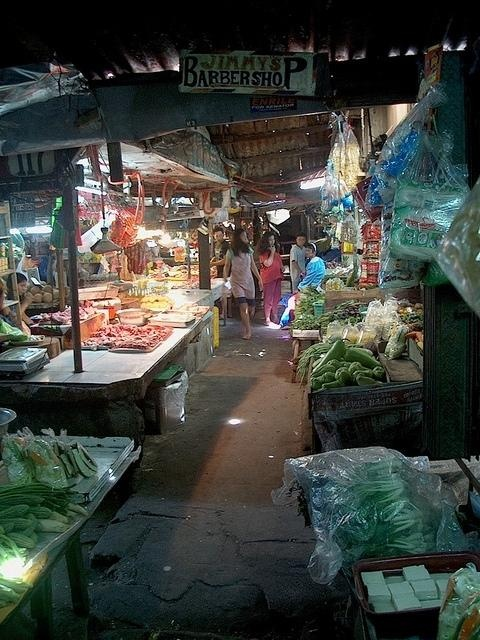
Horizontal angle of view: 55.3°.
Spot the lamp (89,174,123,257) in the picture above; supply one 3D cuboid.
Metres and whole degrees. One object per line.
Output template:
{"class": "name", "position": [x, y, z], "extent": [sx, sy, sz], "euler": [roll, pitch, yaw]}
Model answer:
{"class": "lamp", "position": [-1.813, -1.328, 5.957], "extent": [0.367, 0.921, 2.293], "euler": [-8, 9, -17]}

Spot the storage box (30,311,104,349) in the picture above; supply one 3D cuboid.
{"class": "storage box", "position": [-2.289, 0.142, 6.273], "extent": [1.074, 0.364, 0.709], "euler": [-10, 10, -37]}

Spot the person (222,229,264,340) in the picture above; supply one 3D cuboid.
{"class": "person", "position": [0.031, -0.842, 10.500], "extent": [0.704, 2.482, 0.831], "euler": [-5, 9, -2]}
